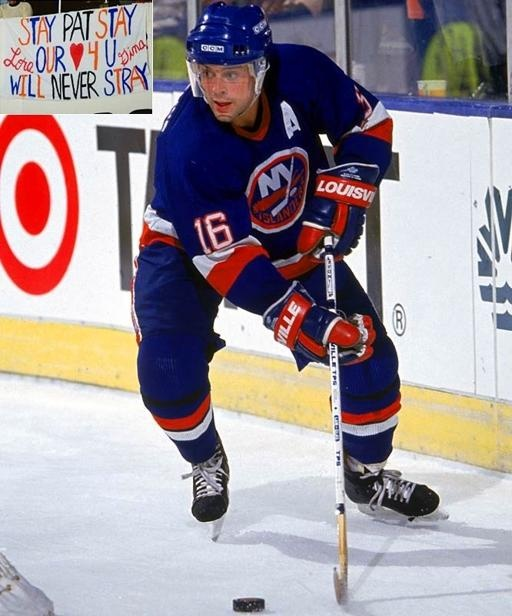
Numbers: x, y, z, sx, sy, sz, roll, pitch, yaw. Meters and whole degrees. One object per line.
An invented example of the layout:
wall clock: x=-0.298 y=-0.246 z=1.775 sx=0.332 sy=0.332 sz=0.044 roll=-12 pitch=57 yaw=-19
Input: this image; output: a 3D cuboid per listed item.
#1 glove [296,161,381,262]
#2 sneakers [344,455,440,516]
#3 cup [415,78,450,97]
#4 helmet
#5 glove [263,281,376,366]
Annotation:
glove: x=0.209 y=-0.243 z=2.378 sx=0.164 sy=0.245 sz=0.092 roll=11 pitch=10 yaw=-11
sneakers: x=0.371 y=0.496 z=2.738 sx=0.309 sy=0.161 sz=0.120 roll=6 pitch=53 yaw=33
cup: x=0.646 y=-0.787 z=3.508 sx=0.109 sy=0.074 sz=0.106 roll=1 pitch=-1 yaw=0
helmet: x=-0.028 y=-0.615 z=2.293 sx=0.182 sy=0.215 sz=0.229 roll=7 pitch=34 yaw=13
glove: x=0.162 y=0.065 z=2.251 sx=0.246 sy=0.086 sz=0.178 roll=28 pitch=-29 yaw=-4
